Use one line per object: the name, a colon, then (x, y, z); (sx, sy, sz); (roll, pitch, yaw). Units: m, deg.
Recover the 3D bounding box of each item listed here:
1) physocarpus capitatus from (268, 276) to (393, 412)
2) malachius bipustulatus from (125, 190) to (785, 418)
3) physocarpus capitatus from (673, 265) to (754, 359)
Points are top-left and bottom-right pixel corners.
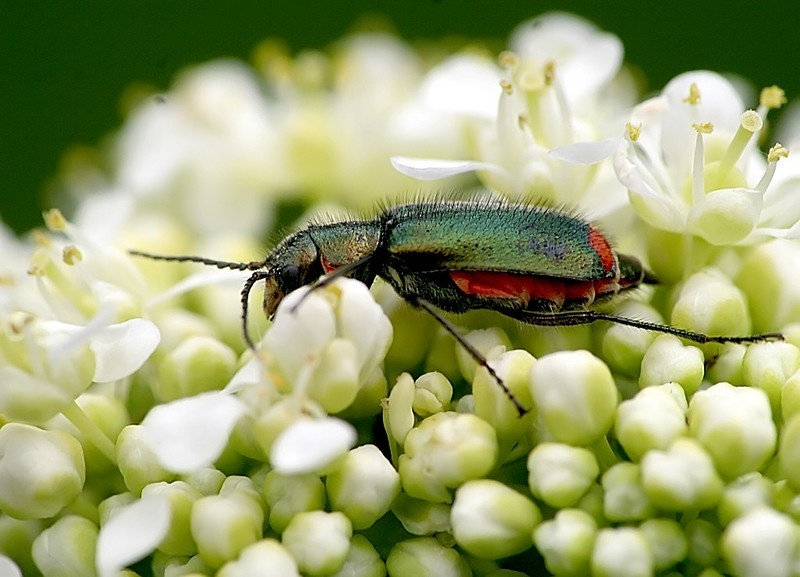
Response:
physocarpus capitatus: (-0.142, 0.132, 1.906); (0.328, 0.280, 0.112); (-15, 12, -27)
malachius bipustulatus: (0.187, -0.036, 2.638); (1.596, 0.488, 1.566); (-4, 8, -3)
physocarpus capitatus: (0.771, 0.052, 2.210); (0.168, 0.133, 0.229); (-36, 53, 7)
